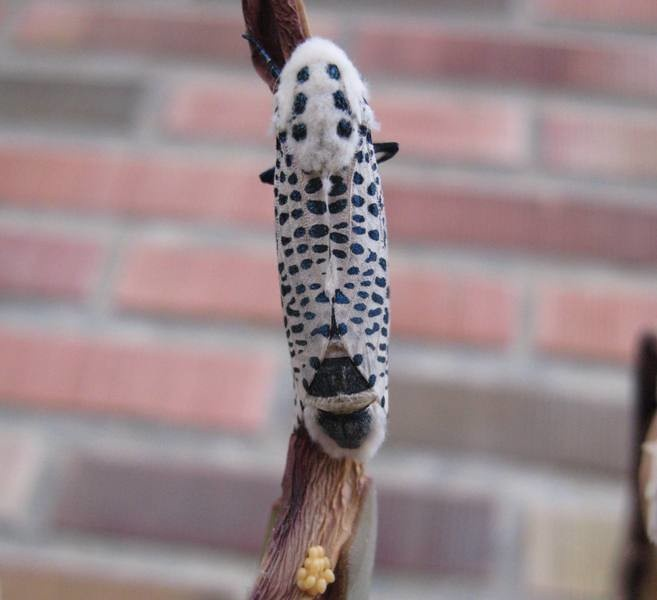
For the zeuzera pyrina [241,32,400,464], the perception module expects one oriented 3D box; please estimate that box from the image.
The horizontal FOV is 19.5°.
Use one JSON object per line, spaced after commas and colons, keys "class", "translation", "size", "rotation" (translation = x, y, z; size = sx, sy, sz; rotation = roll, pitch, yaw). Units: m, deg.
{"class": "zeuzera pyrina", "translation": [-0.010, -0.056, 2.253], "size": [0.186, 0.140, 0.458], "rotation": [-4, -87, -3]}
